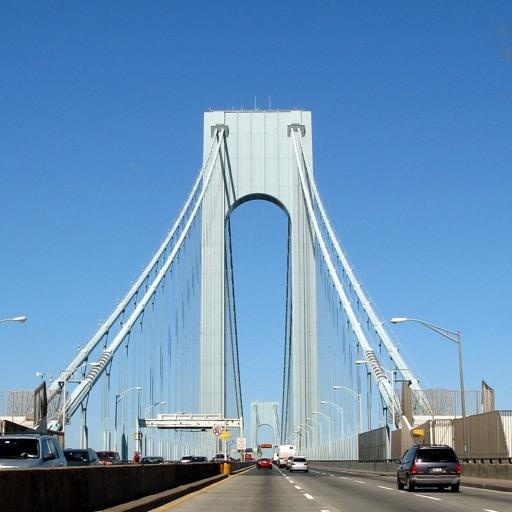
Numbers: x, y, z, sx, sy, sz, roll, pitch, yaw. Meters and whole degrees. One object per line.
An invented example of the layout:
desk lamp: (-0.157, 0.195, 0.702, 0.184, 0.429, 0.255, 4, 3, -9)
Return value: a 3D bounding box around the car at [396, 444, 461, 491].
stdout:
car: (5.222, 6.464, 27.882, 0.998, 1.315, 2.191, 0, -7, 0)
